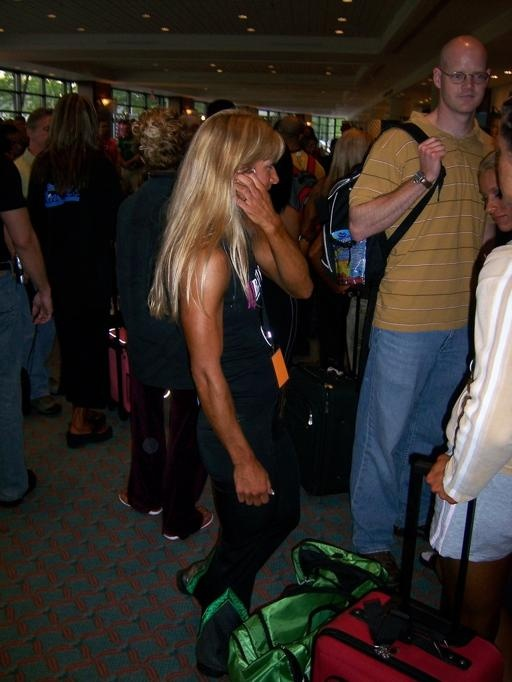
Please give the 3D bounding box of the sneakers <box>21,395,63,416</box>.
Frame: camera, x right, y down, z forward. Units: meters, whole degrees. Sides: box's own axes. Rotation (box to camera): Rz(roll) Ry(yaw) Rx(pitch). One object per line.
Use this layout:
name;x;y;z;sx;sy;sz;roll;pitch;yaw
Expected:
sneakers;-1.340;0.412;3.225;0.241;0.097;0.093;0;10;-4

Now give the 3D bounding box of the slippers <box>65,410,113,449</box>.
slippers;-0.934;0.471;2.914;0.165;0.106;0.296;16;18;17

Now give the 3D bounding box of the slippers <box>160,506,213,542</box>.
slippers;-0.285;0.778;2.121;0.087;0.066;0.229;29;30;25

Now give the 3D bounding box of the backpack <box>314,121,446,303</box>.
backpack;0.441;-0.508;1.897;0.391;0.591;0.426;2;14;24
